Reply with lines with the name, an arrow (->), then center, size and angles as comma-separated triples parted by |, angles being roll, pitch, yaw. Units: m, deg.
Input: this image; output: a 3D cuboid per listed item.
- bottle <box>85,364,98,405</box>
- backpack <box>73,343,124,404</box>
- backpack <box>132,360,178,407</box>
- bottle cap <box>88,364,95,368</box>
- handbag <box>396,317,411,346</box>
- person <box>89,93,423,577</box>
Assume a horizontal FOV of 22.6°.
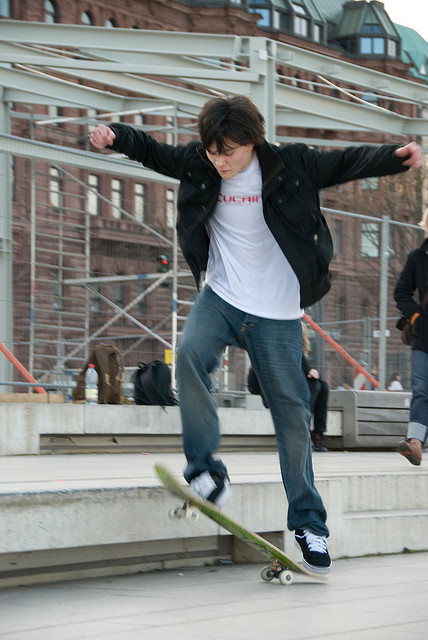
bottle -> -0.925, 0.494, 8.086 | 0.096, 0.291, 0.338 | 0, 0, -7
backpack -> -0.878, 0.471, 8.384 | 0.329, 0.489, 0.431 | -4, -16, 29
backpack -> -0.483, 0.509, 8.321 | 0.257, 0.403, 0.379 | -6, 4, -26
bottle cap -> -0.925, 0.360, 8.154 | 0.033, 0.022, 0.032 | 4, -5, -21
handbag -> 1.160, 0.076, 6.570 | 0.058, 0.146, 0.118 | 8, -2, -15
person -> 0.124, 0.077, 4.006 | 1.033, 1.841, 0.594 | 0, 0, -6
